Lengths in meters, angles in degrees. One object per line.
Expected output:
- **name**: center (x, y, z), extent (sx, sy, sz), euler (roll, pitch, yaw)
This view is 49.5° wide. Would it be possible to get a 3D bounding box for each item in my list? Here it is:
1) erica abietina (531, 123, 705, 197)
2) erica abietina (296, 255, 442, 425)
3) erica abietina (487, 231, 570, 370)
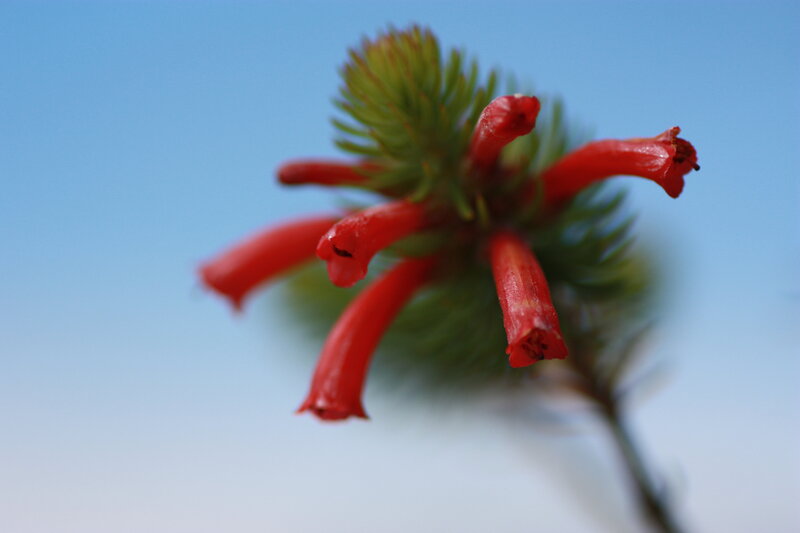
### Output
- **erica abietina**: center (0.298, -0.127, 1.205), extent (0.091, 0.079, 0.211), euler (-20, 12, -38)
- **erica abietina**: center (-0.032, 0.101, 1.315), extent (0.124, 0.286, 0.085), euler (7, -30, 35)
- **erica abietina**: center (0.177, 0.040, 1.217), extent (0.071, 0.195, 0.051), euler (-18, -57, 1)
